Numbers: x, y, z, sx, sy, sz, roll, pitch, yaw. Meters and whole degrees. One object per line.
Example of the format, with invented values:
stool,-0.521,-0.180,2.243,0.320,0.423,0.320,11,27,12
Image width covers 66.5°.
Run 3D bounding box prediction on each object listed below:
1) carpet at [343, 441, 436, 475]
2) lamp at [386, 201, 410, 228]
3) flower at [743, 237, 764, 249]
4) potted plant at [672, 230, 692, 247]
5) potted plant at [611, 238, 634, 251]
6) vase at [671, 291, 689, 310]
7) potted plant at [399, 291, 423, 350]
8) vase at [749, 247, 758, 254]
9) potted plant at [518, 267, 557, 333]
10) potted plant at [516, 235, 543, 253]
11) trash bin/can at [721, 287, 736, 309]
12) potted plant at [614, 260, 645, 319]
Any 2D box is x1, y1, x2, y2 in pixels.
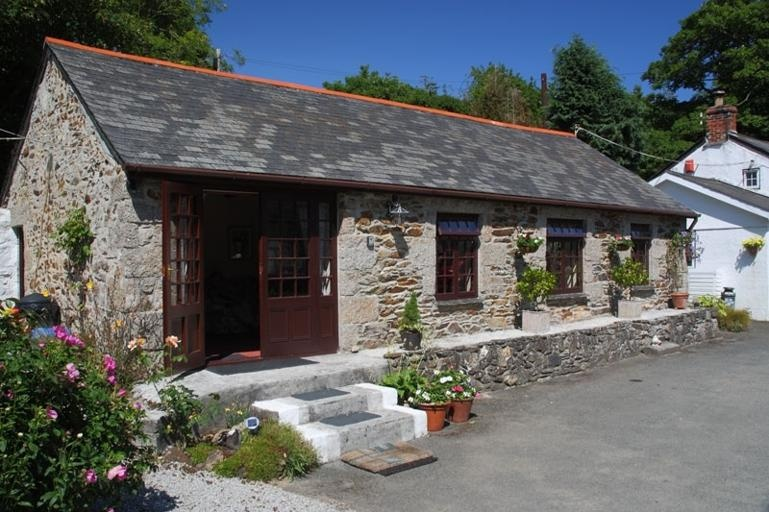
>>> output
carpet,0.079,3.031,8.869,1.365,0.153,0.717,-3,7,-29
lamp,0.262,-0.868,12.030,0.348,0.544,0.254,-1,6,-9
flower,12.898,-0.483,20.330,0.402,0.325,0.424,0,-1,3
potted plant,9.204,-0.548,18.097,0.610,0.448,0.572,0,-3,39
potted plant,6.601,-0.326,16.162,0.860,0.383,0.287,-6,9,-44
vase,9.012,1.326,17.781,0.469,0.387,0.488,-3,-5,35
potted plant,0.522,1.248,11.542,0.435,1.108,0.335,0,6,1
vase,12.994,-0.221,20.509,0.207,0.167,0.202,-2,2,-17
potted plant,3.538,0.968,13.799,1.027,1.431,0.834,-6,9,-43
potted plant,3.522,-0.300,14.109,0.816,0.430,0.311,-6,9,-44
trash bin/can,11.840,1.373,20.072,0.409,0.621,1.187,4,7,30
potted plant,6.729,0.826,16.018,1.057,1.548,0.780,-4,8,-34
